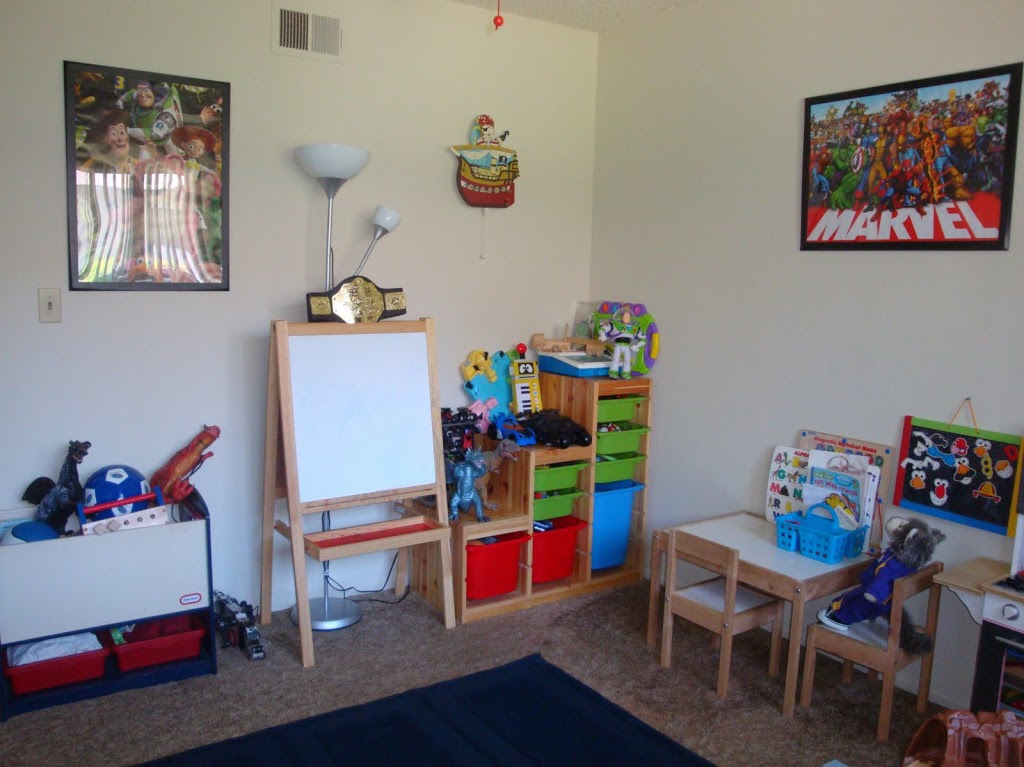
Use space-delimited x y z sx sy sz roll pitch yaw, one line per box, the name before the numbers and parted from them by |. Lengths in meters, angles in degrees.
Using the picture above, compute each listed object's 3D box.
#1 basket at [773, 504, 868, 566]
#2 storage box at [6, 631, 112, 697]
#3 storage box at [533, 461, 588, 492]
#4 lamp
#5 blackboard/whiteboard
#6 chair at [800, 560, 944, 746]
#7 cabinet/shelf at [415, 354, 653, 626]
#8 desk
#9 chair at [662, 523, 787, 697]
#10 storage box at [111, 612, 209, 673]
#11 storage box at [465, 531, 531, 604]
basket | 1.292 0.625 3.417 0.343 0.211 0.160 3 10 21
storage box | -1.831 1.134 3.284 0.293 0.112 0.235 -5 11 -27
storage box | 0.231 0.452 4.139 0.219 0.093 0.152 -4 5 -37
lamp | -0.880 0.015 3.933 0.613 2.240 0.466 7 8 -14
blackboard/whiteboard | -0.697 0.135 3.685 0.832 0.999 0.353 -5 6 -31
chair | 1.475 1.054 3.339 0.424 0.671 0.456 6 7 39
cabinet/shelf | 0.120 0.498 4.312 1.174 1.134 0.625 -13 11 -18
desk | 1.081 0.861 3.526 0.723 0.592 0.756 -2 11 -35
chair | 0.926 0.956 3.581 0.467 0.639 0.486 6 11 29
storage box | -1.518 1.078 3.474 0.311 0.136 0.225 -6 10 -26
storage box | -0.108 0.890 4.052 0.434 0.316 0.274 -2 2 -37
